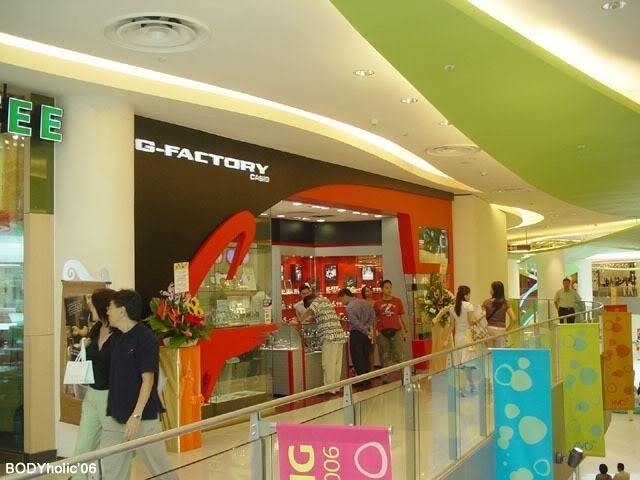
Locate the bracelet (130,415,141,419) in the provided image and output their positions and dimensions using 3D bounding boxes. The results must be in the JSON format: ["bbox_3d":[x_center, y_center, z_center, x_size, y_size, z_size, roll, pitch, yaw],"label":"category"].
[{"bbox_3d":[-1.412,1.338,3.640,0.048,0.033,0.050,6,-6,41],"label":"bracelet"}]

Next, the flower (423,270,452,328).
[{"bbox_3d":[3.077,1.399,12.467,0.875,0.715,1.087,39,-13,31],"label":"flower"}]

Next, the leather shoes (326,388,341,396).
[{"bbox_3d":[0.256,2.743,8.698,0.287,0.136,0.426,-1,-5,-2],"label":"leather shoes"}]

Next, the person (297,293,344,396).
[{"bbox_3d":[0.040,1.900,9.061,0.871,1.831,1.006,0,-6,-3],"label":"person"}]

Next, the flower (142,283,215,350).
[{"bbox_3d":[-1.848,0.907,6.243,0.788,0.613,0.852,2,4,-8],"label":"flower"}]
